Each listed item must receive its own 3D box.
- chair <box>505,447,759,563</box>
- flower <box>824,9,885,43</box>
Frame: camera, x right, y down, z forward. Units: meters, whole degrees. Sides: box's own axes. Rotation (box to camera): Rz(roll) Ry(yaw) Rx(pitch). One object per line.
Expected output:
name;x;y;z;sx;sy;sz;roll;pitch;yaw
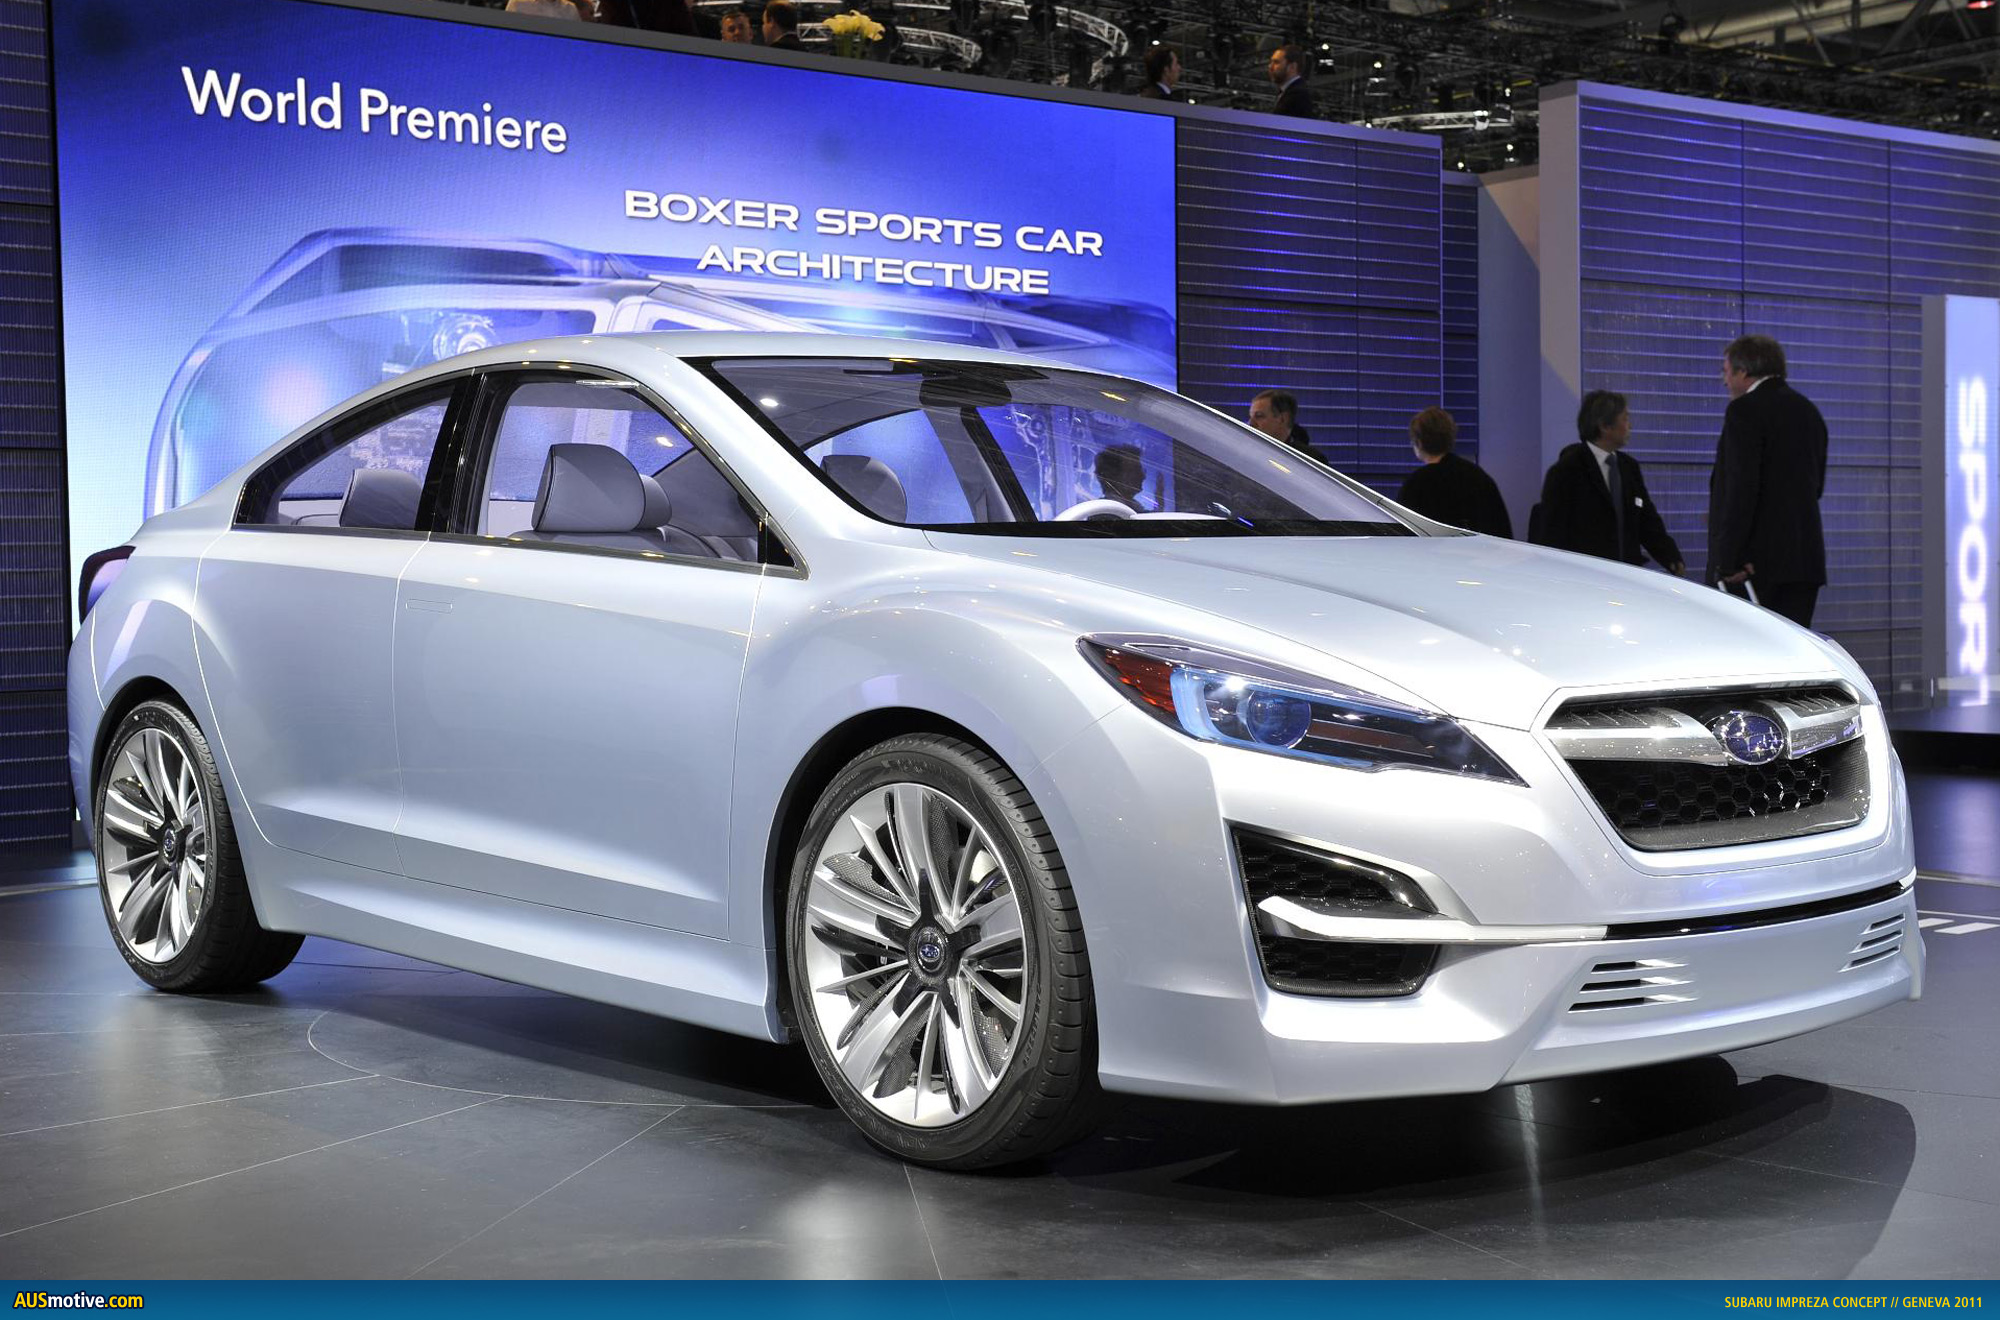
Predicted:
chair;-0.909;-0.334;3.583;0.500;0.174;0.360;6;-1;-13
flower;-0.961;-4.035;8.852;0.293;0.165;0.278;-1;6;-27
